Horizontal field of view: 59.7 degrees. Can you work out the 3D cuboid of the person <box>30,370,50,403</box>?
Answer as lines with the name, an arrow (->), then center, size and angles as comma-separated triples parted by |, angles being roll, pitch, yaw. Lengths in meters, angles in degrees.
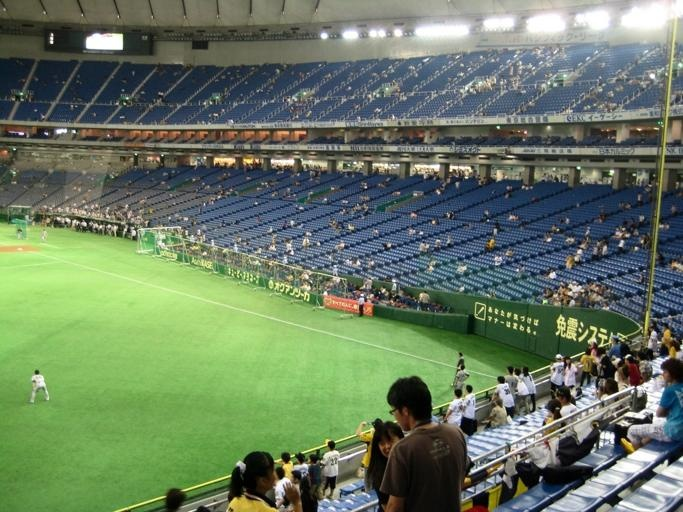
person -> -10.461, 4.217, 20.314 | 0.597, 1.111, 1.011 | -5, 15, -26

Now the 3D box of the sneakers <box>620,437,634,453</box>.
sneakers -> 5.462, 3.539, 11.278 | 0.076, 0.226, 0.148 | -30, -5, -9
